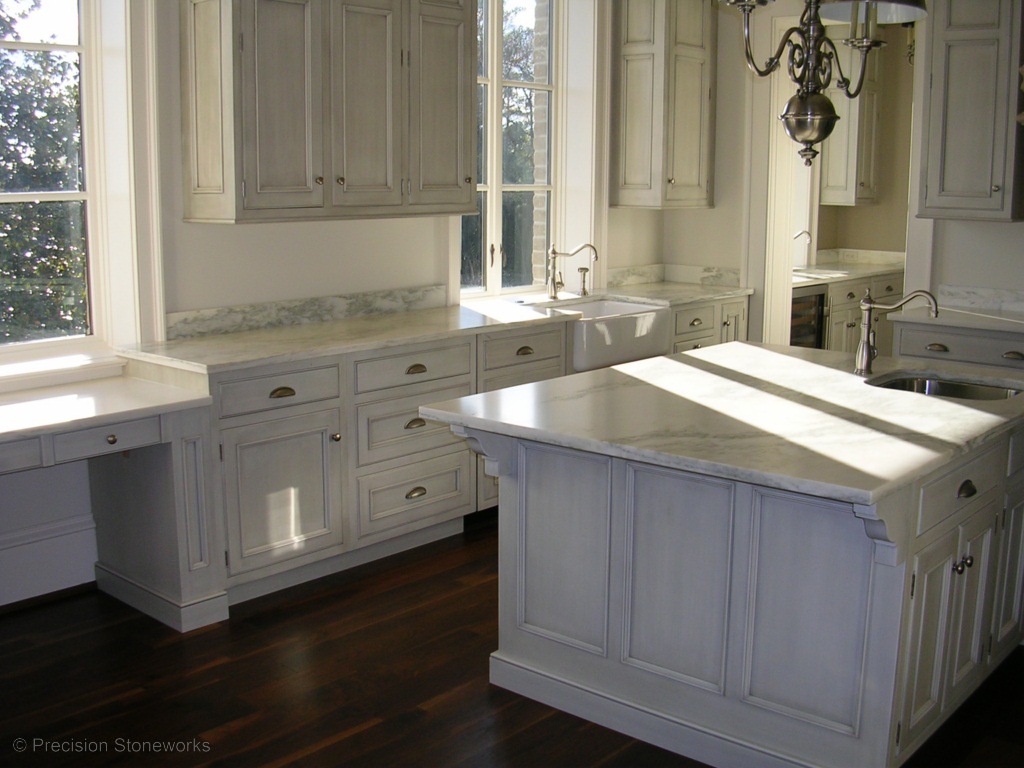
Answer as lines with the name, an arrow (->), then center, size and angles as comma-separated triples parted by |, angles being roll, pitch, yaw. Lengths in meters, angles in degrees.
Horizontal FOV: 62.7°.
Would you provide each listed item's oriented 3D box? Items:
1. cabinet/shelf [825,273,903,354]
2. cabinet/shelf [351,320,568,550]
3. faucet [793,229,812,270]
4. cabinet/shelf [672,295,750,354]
cabinet/shelf -> 2.457, -0.521, 5.928 | 0.721, 0.667, 0.291 | -8, 13, -37
cabinet/shelf -> -0.297, 0.242, 3.760 | 0.372, 0.724, 1.052 | 7, 13, 40
faucet -> 2.530, -1.176, 7.260 | 0.162, 0.299, 0.184 | 1, 14, 4
cabinet/shelf -> 1.231, -0.381, 5.290 | 0.400, 0.372, 0.203 | -11, 15, -39
